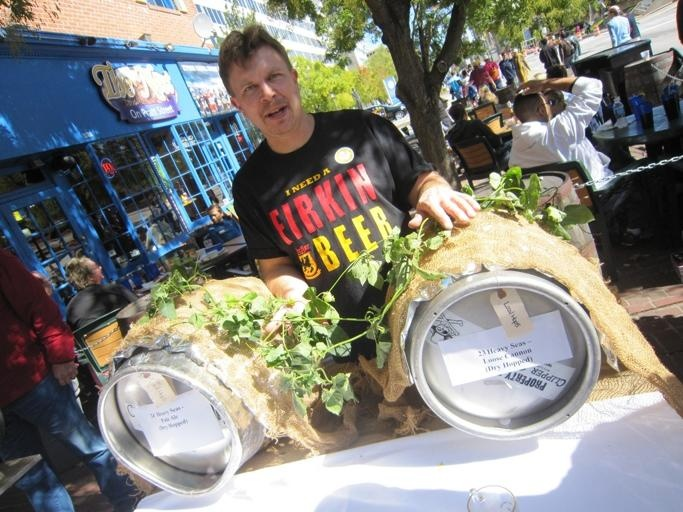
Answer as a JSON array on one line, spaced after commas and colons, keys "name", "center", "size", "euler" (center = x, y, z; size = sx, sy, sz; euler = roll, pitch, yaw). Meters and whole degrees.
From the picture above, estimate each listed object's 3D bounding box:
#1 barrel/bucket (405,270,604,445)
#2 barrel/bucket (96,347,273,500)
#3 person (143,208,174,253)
[{"name": "barrel/bucket", "center": [0.398, 0.236, 1.073], "size": [0.424, 0.458, 0.178], "euler": [-20, 0, 18]}, {"name": "barrel/bucket", "center": [-0.457, 0.419, 1.388], "size": [0.503, 0.464, 0.207], "euler": [34, 27, 11]}, {"name": "person", "center": [-3.906, -0.591, 8.913], "size": [0.208, 0.726, 0.711], "euler": [-4, -5, 26]}]
